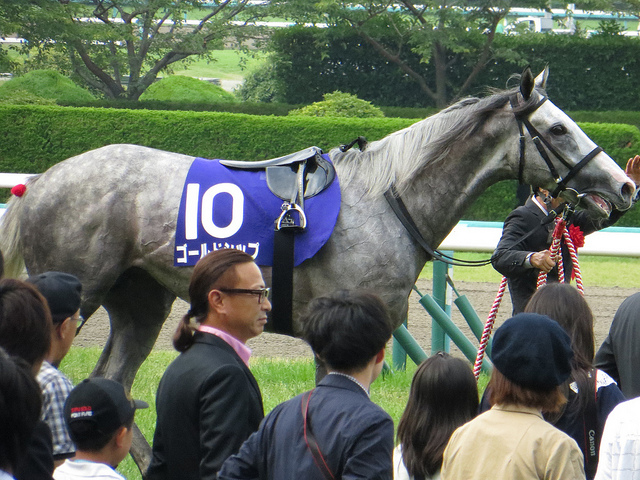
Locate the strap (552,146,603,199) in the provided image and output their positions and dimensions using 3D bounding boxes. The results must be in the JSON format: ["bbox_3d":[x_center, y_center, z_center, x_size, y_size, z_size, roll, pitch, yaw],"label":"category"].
[{"bbox_3d":[1.832,-0.502,7.553,0.071,0.336,0.267,42,-6,6],"label":"strap"}]

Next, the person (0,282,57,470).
[{"bbox_3d":[-1.685,0.808,6.103,0.361,1.034,0.814,2,9,-14],"label":"person"}]

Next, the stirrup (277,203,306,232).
[{"bbox_3d":[-0.195,-0.148,7.497,0.199,0.203,0.078,4,8,-4],"label":"stirrup"}]

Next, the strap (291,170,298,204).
[{"bbox_3d":[-0.167,-0.357,7.553,0.023,0.205,0.027,7,-21,12],"label":"strap"}]

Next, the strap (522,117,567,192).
[{"bbox_3d":[1.619,-0.635,7.576,0.067,0.546,0.077,-22,15,15],"label":"strap"}]

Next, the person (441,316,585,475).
[{"bbox_3d":[1.150,0.932,6.151,0.784,0.966,0.348,6,8,7],"label":"person"}]

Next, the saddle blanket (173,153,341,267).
[{"bbox_3d":[-0.458,-0.190,7.590,0.835,1.017,0.266,3,-23,2],"label":"saddle blanket"}]
